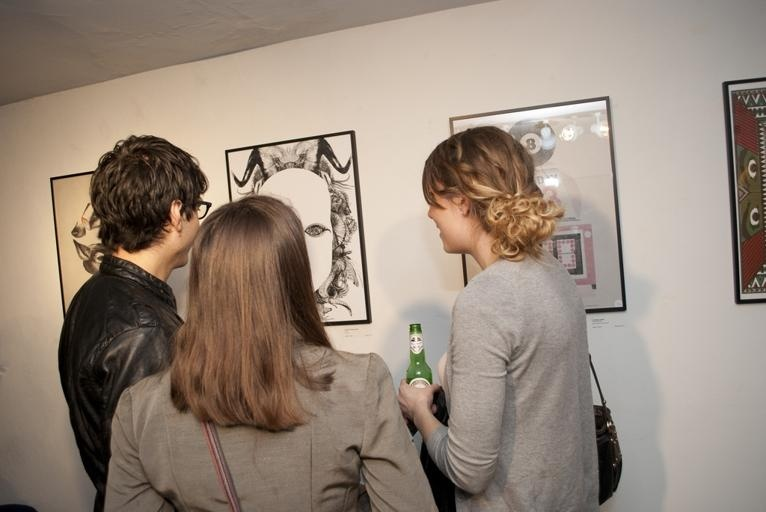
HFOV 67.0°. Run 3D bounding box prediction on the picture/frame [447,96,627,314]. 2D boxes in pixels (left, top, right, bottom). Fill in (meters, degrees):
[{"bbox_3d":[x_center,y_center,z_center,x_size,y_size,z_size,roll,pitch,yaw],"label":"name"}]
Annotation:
[{"bbox_3d":[0.709,-0.211,2.466,0.862,1.082,0.043,-11,-1,10],"label":"picture/frame"}]
